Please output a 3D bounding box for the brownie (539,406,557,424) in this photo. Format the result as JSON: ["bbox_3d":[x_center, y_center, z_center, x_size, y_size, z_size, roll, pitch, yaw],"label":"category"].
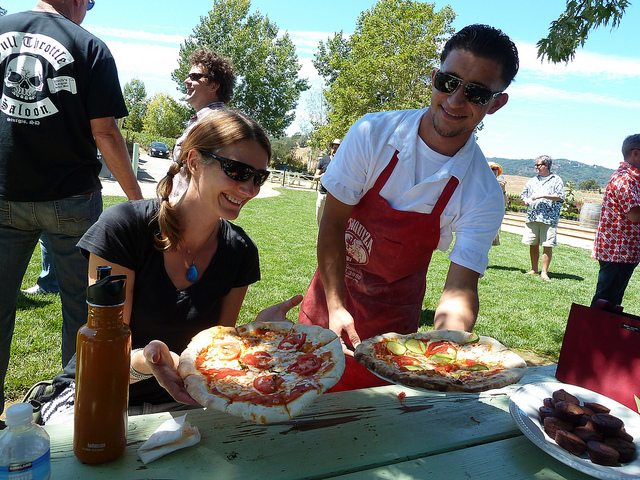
[{"bbox_3d":[0.948,0.730,1.668,0.056,0.057,0.059,-1,-27,32],"label":"brownie"}]

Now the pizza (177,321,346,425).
[{"bbox_3d":[-0.250,0.531,1.741,0.651,0.147,0.682,7,16,10],"label":"pizza"}]

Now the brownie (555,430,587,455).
[{"bbox_3d":[0.960,0.775,1.527,0.080,0.040,0.076,32,-7,-32],"label":"brownie"}]

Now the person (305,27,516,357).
[{"bbox_3d":[0.530,-0.243,2.376,1.055,1.982,0.733,13,14,18],"label":"person"}]

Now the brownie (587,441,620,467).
[{"bbox_3d":[1.069,0.808,1.512,0.097,0.043,0.085,6,13,-16],"label":"brownie"}]

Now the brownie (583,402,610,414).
[{"bbox_3d":[1.208,0.727,1.743,0.111,0.019,0.079,3,14,-27],"label":"brownie"}]

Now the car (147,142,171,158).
[{"bbox_3d":[-16.241,-9.011,39.828,1.288,1.086,2.606,-2,9,-26],"label":"car"}]

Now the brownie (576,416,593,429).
[{"bbox_3d":[1.086,0.744,1.632,0.032,0.017,0.068,-16,-6,40],"label":"brownie"}]

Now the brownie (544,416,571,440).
[{"bbox_3d":[0.948,0.747,1.600,0.066,0.043,0.068,4,6,11],"label":"brownie"}]

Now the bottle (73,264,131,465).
[{"bbox_3d":[-0.717,0.408,1.301,0.168,0.658,0.138,1,15,-27],"label":"bottle"}]

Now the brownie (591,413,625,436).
[{"bbox_3d":[1.135,0.721,1.597,0.080,0.032,0.086,1,-2,3],"label":"brownie"}]

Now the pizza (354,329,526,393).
[{"bbox_3d":[0.541,0.526,1.785,0.751,0.120,0.533,3,14,-25],"label":"pizza"}]

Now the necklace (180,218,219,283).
[{"bbox_3d":[-0.667,0.058,2.162,0.150,0.322,0.156,5,10,-13],"label":"necklace"}]

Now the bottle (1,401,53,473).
[{"bbox_3d":[-0.917,0.597,1.247,0.125,0.259,0.209,-1,16,-34],"label":"bottle"}]

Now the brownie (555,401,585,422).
[{"bbox_3d":[1.011,0.696,1.621,0.073,0.038,0.072,3,-2,5],"label":"brownie"}]
